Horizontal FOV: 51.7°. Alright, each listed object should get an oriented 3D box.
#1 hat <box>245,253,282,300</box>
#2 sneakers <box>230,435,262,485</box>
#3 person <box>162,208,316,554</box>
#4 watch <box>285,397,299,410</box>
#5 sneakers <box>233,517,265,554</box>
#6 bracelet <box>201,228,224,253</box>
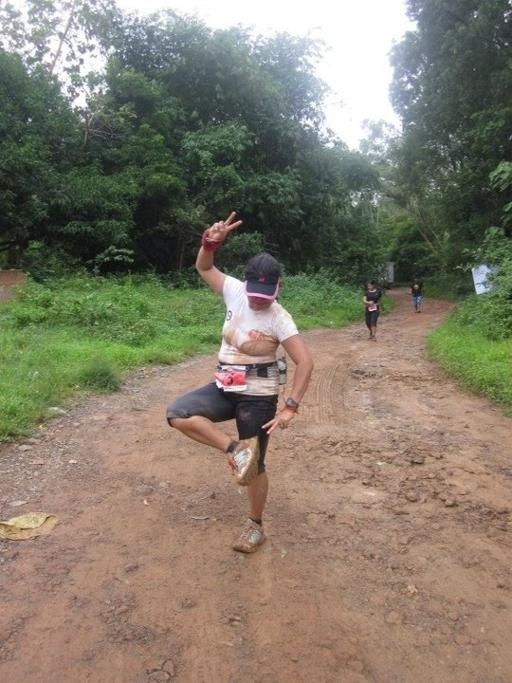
[{"bbox_3d":[0.045,-0.381,3.157,0.212,0.274,0.245,0,10,-1],"label":"hat"},{"bbox_3d":[-0.078,0.725,3.106,0.182,0.289,0.207,3,10,14],"label":"sneakers"},{"bbox_3d":[-0.086,0.312,3.299,0.847,2.180,0.642,5,12,27],"label":"person"},{"bbox_3d":[0.221,0.362,3.183,0.078,0.051,0.099,0,-25,2],"label":"watch"},{"bbox_3d":[-0.029,1.285,3.439,0.109,0.137,0.284,3,-13,21],"label":"sneakers"},{"bbox_3d":[-0.299,-0.649,3.416,0.140,0.107,0.075,-3,46,34],"label":"bracelet"}]
